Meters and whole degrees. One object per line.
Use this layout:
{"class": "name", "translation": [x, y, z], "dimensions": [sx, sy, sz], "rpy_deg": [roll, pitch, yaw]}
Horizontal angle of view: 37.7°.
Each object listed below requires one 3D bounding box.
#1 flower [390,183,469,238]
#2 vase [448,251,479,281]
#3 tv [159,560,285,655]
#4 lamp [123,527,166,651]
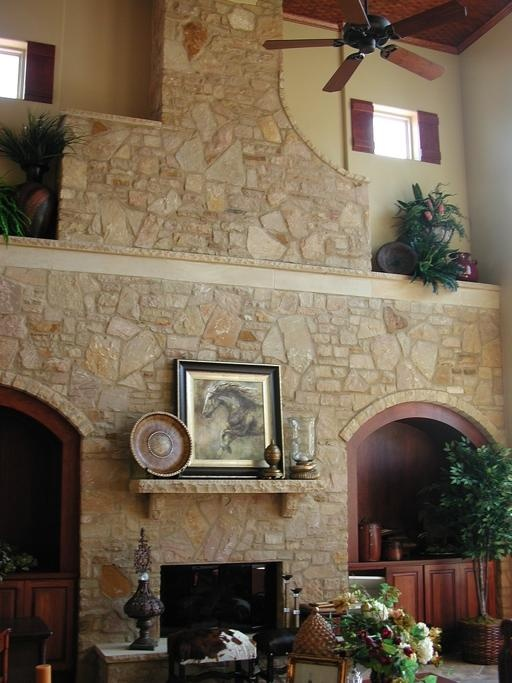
{"class": "flower", "translation": [1.822, -1.352, 7.720], "dimensions": [0.773, 0.713, 0.436], "rpy_deg": [7, -14, -28]}
{"class": "vase", "translation": [2.023, -0.752, 7.430], "dimensions": [0.201, 0.328, 0.532], "rpy_deg": [-5, -13, 27]}
{"class": "tv", "translation": [-0.301, 2.019, 5.707], "dimensions": [0.982, 0.467, 0.128], "rpy_deg": [1, -10, -14]}
{"class": "lamp", "translation": [-0.823, 1.807, 5.521], "dimensions": [0.275, 0.820, 0.472], "rpy_deg": [3, -13, -8]}
